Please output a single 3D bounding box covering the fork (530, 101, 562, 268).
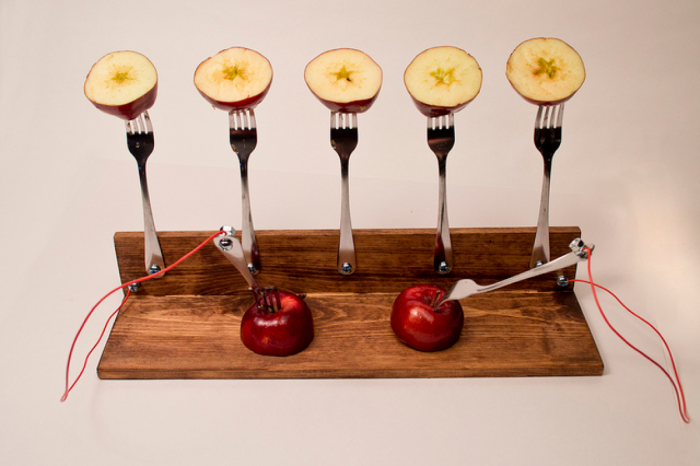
[{"bbox_3d":[0.602,-0.158,2.143,0.064,0.530,0.056,2,7,11],"label":"fork"}]

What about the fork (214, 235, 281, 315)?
[{"bbox_3d":[-0.315,0.135,2.161,0.095,0.368,0.072,0,-60,-42],"label":"fork"}]

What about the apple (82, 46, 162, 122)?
[{"bbox_3d":[-0.771,-0.525,2.322,0.265,0.273,0.210,4,-60,-4],"label":"apple"}]

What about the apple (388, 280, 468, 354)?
[{"bbox_3d":[0.262,0.285,2.273,0.203,0.233,0.169,11,-47,8],"label":"apple"}]

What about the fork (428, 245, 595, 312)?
[{"bbox_3d":[0.519,0.148,2.318,0.391,0.098,0.060,-23,-60,17],"label":"fork"}]

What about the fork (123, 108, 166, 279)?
[{"bbox_3d":[-0.650,-0.109,2.203,0.058,0.044,0.561,-3,-76,-2],"label":"fork"}]

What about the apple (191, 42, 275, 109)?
[{"bbox_3d":[-0.385,-0.498,2.301,0.273,0.273,0.161,10,-60,19],"label":"apple"}]

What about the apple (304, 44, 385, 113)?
[{"bbox_3d":[0.015,-0.480,2.320,0.255,0.118,0.289,-2,0,-25],"label":"apple"}]

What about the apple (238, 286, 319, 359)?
[{"bbox_3d":[-0.234,0.310,2.270,0.198,0.212,0.207,-8,-58,-9],"label":"apple"}]
